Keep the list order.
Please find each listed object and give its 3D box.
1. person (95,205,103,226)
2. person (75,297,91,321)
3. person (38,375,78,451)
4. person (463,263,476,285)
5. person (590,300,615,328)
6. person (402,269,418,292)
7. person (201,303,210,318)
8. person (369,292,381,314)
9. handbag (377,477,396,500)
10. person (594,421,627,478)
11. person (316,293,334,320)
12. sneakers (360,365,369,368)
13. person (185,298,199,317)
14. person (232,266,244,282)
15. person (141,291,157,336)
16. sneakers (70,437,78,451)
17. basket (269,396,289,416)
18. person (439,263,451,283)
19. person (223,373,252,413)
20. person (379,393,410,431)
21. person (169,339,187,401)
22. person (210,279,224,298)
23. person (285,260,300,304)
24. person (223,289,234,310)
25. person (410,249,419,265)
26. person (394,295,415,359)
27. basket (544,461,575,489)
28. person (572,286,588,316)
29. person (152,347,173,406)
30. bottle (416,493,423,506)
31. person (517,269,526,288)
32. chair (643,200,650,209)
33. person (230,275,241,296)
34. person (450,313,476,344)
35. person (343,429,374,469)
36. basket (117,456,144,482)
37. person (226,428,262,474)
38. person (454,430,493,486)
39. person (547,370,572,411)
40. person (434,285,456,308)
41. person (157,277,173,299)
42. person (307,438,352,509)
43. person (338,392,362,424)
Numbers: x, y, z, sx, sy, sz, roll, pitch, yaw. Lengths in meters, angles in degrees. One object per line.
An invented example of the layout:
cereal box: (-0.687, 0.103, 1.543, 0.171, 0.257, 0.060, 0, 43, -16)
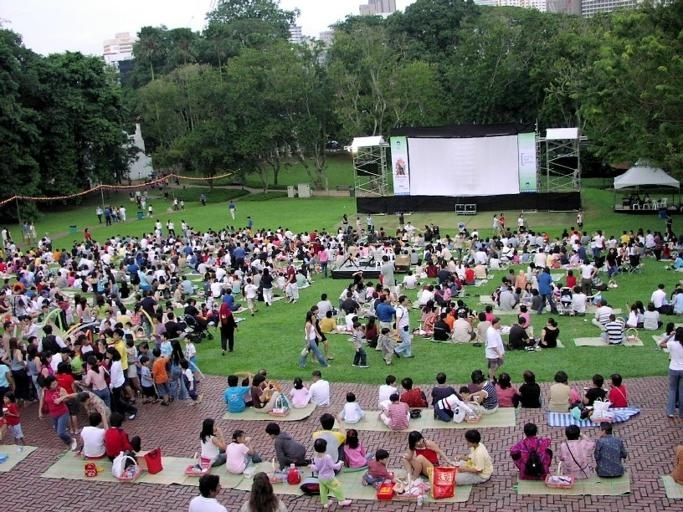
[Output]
person: (-23.462, -3.951, 56.839, 0.416, 1.496, 2.406, -10, 13, -22)
person: (-10.215, 2.150, 23.305, 0.475, 1.035, 0.974, -11, 14, -24)
person: (-7.963, 4.520, 16.516, 0.868, 2.265, 0.866, -5, 8, 29)
person: (6.411, 0.940, 29.684, 0.775, 1.208, 0.749, -2, 20, 4)
person: (9.680, 2.208, 21.900, 0.839, 1.074, 0.739, 2, 14, 21)
person: (3.383, 1.274, 29.507, 0.551, 0.621, 1.112, 0, 11, 8)
person: (-5.592, 2.261, 24.020, 0.229, 0.667, 1.047, -7, 13, -10)
person: (1.273, 1.950, 23.822, 0.303, 0.794, 0.582, 19, 10, 3)
handbag: (1.027, 5.586, 13.893, 0.471, 0.324, 0.325, -8, 13, -11)
person: (6.286, 4.752, 13.949, 0.660, 1.669, 0.908, -6, 17, 9)
person: (-0.712, 2.122, 24.133, 0.543, 1.269, 0.737, 8, 42, 13)
sneakers: (0.773, 3.815, 20.133, 0.272, 0.124, 0.095, -4, 7, 3)
person: (-6.047, 2.066, 23.615, 0.519, 0.456, 1.391, -9, 13, -15)
person: (-5.159, 0.988, 29.356, 0.468, 1.178, 0.665, 2, 11, 4)
person: (-7.679, 2.300, 23.188, 0.695, 1.950, 0.511, -10, 21, -30)
sneakers: (-7.542, 5.349, 16.565, 0.149, 0.133, 0.360, 11, 49, -19)
basket: (-1.821, 4.467, 17.513, 0.534, 0.546, 0.513, 3, 15, 16)
person: (4.843, 0.840, 27.759, 0.514, 1.314, 0.759, 2, 35, 15)
person: (-3.231, 4.167, 17.809, 0.821, 1.175, 0.366, -3, 12, 11)
person: (1.460, 4.315, 16.582, 0.788, 0.925, 1.149, -2, 10, 1)
person: (-5.255, 3.586, 18.799, 0.501, 1.704, 0.563, 0, 12, 9)
person: (-5.771, 1.571, 27.370, 0.577, 1.193, 0.698, -1, 5, 4)
person: (-2.492, 1.275, 28.033, 0.691, 1.950, 0.563, -4, 1, 3)
person: (-4.784, 1.873, 24.682, 0.729, 0.860, 0.534, 1, 26, -3)
person: (4.067, 0.114, 33.443, 0.571, 0.814, 0.788, -1, -4, -3)
person: (2.223, 2.657, 21.215, 0.800, 2.591, 1.025, -3, 30, 2)
basket: (5.067, 5.138, 13.689, 0.643, 0.433, 0.443, -1, 13, 20)
person: (9.579, 1.876, 23.831, 0.671, 1.551, 0.917, 3, 36, 19)
person: (-5.754, 3.905, 18.832, 0.690, 1.602, 0.580, 3, 15, 32)
bottle: (1.814, 5.698, 13.666, 0.181, 0.210, 0.179, -1, 5, -4)
person: (8.042, 1.043, 26.412, 0.429, 1.015, 0.574, 2, 35, 19)
chair: (23.230, -3.940, 44.880, 0.634, 0.673, 0.645, 1, 14, 27)
person: (-5.178, 1.472, 28.607, 0.449, 1.048, 0.958, -6, 12, -2)
person: (4.428, 2.682, 21.781, 0.812, 1.196, 0.851, -3, 4, -26)
person: (0.390, 4.940, 14.844, 0.824, 0.862, 0.604, -1, 13, 9)
basket: (-5.499, 5.556, 15.423, 0.555, 0.658, 0.652, 1, 1, 5)
person: (-2.574, 4.992, 15.214, 0.819, 0.997, 1.188, -3, 1, 9)
person: (3.054, 4.953, 14.172, 0.937, 1.407, 0.930, -1, -1, 41)
person: (5.954, 3.694, 16.140, 0.593, 1.181, 0.514, -1, 13, 20)
person: (4.288, 1.713, 25.025, 1.069, 1.422, 0.756, 3, -1, 13)
person: (-8.819, 1.648, 29.322, 0.792, 1.201, 0.792, 1, 25, -2)
person: (-0.322, 5.044, 13.866, 0.757, 1.632, 0.793, -6, 12, -6)
person: (0.261, 4.324, 16.776, 0.841, 0.873, 0.608, -1, 1, -8)
